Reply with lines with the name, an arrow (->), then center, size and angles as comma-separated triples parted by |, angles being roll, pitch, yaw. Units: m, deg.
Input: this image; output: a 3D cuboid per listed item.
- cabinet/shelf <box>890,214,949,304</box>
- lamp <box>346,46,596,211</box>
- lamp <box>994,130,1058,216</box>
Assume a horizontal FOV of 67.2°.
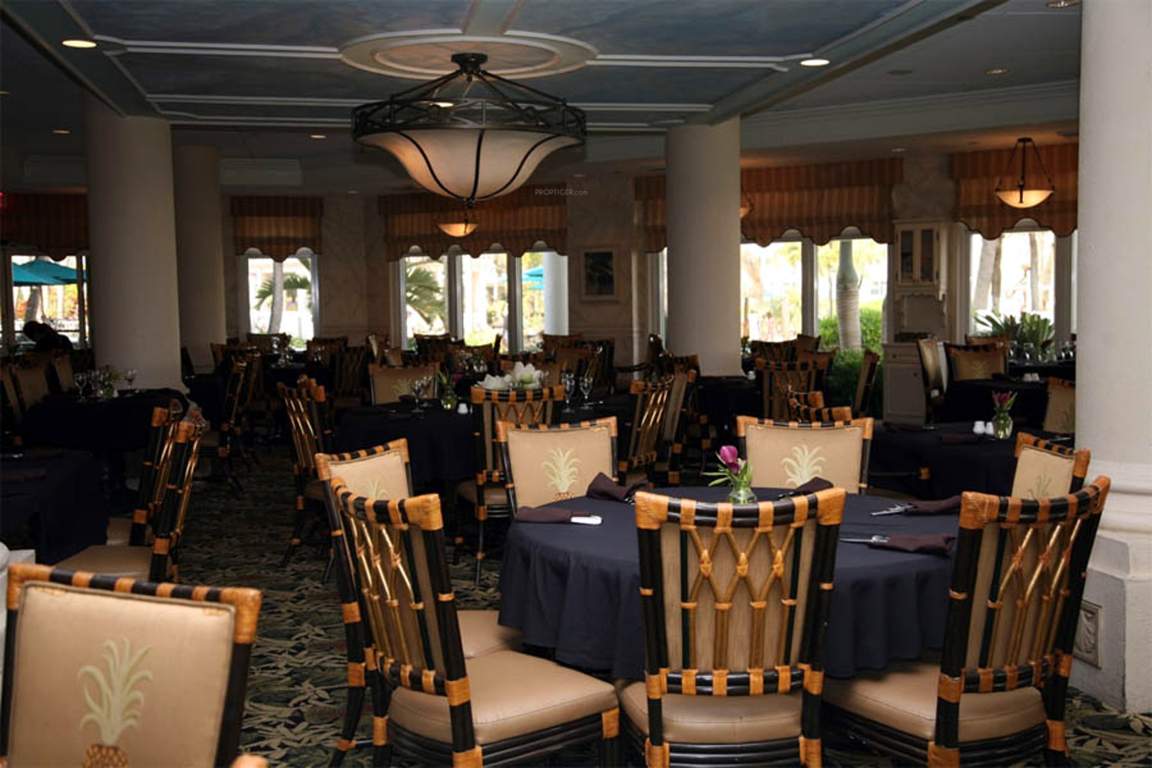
cabinet/shelf -> 4.539, -1.628, 11.412 | 0.650, 0.998, 0.384 | -2, 5, 22
lamp -> -0.837, -1.869, 6.602 | 1.484, 0.905, 1.465 | 3, 8, 24
lamp -> 5.411, -2.547, 10.533 | 0.639, 0.802, 0.641 | 0, 5, 35
